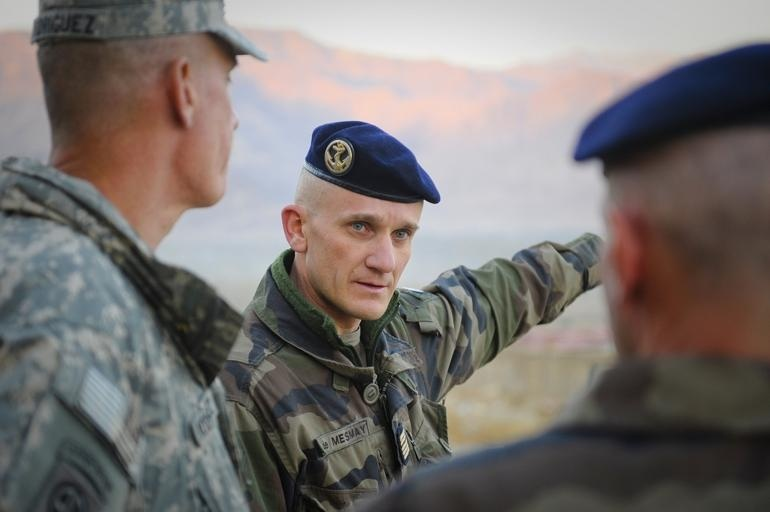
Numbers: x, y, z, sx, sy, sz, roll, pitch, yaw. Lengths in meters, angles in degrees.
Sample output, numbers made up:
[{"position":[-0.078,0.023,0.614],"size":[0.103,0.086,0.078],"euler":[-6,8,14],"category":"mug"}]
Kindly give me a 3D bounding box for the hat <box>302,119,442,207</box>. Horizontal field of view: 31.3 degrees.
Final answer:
[{"position":[-0.071,-0.384,5.502],"size":[0.599,0.254,0.475],"euler":[14,10,26],"category":"hat"}]
